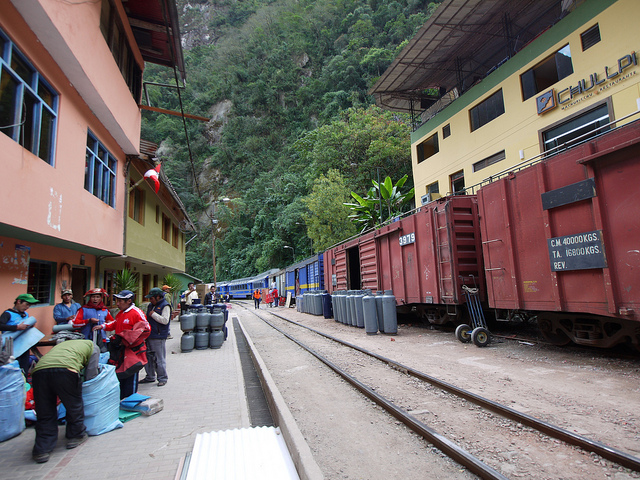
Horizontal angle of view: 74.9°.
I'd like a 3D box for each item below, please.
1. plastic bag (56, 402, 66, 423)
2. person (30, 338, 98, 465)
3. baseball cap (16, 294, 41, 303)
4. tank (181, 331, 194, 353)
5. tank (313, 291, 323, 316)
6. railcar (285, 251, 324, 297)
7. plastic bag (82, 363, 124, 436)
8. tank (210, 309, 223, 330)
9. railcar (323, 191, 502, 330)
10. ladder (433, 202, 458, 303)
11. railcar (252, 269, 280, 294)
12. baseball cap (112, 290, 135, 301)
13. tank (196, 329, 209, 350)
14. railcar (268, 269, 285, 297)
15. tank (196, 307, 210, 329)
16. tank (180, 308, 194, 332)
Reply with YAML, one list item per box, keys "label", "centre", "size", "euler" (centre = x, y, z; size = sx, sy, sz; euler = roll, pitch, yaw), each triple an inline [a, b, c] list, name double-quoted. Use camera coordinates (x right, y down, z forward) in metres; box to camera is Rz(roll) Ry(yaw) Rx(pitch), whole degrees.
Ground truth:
- label: "plastic bag"
  centre: [-4.665, 3.181, 7.594]
  size: [0.119, 0.326, 0.449]
  euler: [5, -14, -31]
- label: "person"
  centre: [-4.154, 2.621, 6.806]
  size: [0.886, 1.856, 0.383]
  euler: [6, -14, -34]
- label: "baseball cap"
  centre: [-5.568, 1.124, 8.009]
  size: [0.328, 0.121, 0.221]
  euler: [4, -5, -15]
- label: "tank"
  centre: [-3.965, 3.106, 12.555]
  size: [0.455, 0.834, 0.504]
  euler: [3, -6, -10]
- label: "tank"
  centre: [-0.066, 3.595, 23.131]
  size: [0.326, 1.282, 0.890]
  euler: [3, -13, -24]
- label: "railcar"
  centre: [-1.057, 2.532, 29.380]
  size: [1.269, 2.082, 7.637]
  euler: [1, -15, -14]
- label: "plastic bag"
  centre: [-3.907, 2.876, 7.395]
  size: [0.831, 1.098, 0.588]
  euler: [-5, -3, 24]
- label: "tank"
  centre: [-3.245, 2.532, 13.128]
  size: [0.383, 0.602, 0.375]
  euler: [1, -12, -16]
- label: "railcar"
  centre: [3.760, 1.143, 16.692]
  size: [3.014, 3.715, 9.014]
  euler: [-4, -8, -17]
- label: "ladder"
  centre: [3.712, 0.422, 12.674]
  size: [0.480, 2.656, 0.360]
  euler: [0, -1, 25]
- label: "railcar"
  centre: [-6.242, 4.658, 47.982]
  size: [1.610, 2.510, 6.453]
  euler: [1, -7, -15]
- label: "baseball cap"
  centre: [-3.970, 1.093, 8.337]
  size: [0.476, 0.257, 0.302]
  euler: [6, -15, -17]
- label: "tank"
  centre: [-3.632, 3.113, 12.914]
  size: [0.471, 0.817, 0.520]
  euler: [2, -5, -7]
- label: "railcar"
  centre: [-4.204, 4.332, 40.670]
  size: [0.469, 2.903, 6.846]
  euler: [1, -13, -15]
- label: "tank"
  centre: [-3.605, 2.463, 13.081]
  size: [0.367, 0.681, 0.498]
  euler: [-9, -14, 31]
- label: "tank"
  centre: [-4.095, 2.510, 12.814]
  size: [0.477, 0.851, 0.504]
  euler: [1, -5, -4]
